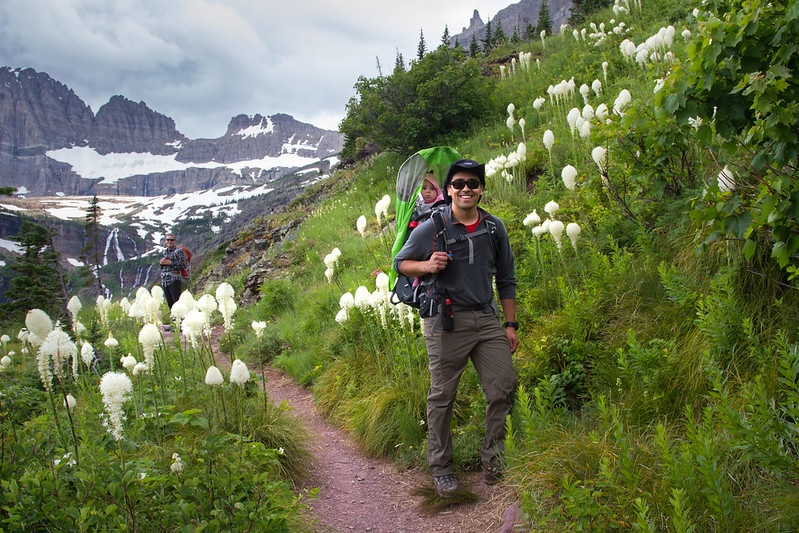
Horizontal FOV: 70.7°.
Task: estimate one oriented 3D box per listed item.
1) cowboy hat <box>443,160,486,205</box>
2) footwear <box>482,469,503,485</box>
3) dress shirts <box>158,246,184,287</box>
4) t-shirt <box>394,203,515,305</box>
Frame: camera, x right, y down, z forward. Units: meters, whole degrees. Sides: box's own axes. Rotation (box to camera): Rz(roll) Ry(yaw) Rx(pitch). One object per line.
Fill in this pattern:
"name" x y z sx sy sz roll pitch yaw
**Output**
"cowboy hat" 0.731 -1.067 6.482 0.405 0.592 0.248 -6 -27 8
"footwear" 1.058 2.387 6.383 0.098 0.132 0.298 4 -22 -14
"dress shirts" -6.051 -0.023 15.037 0.613 1.121 0.542 -4 0 -3
"t-shirt" 0.619 0.049 6.890 1.168 1.165 1.201 1 -12 -16
